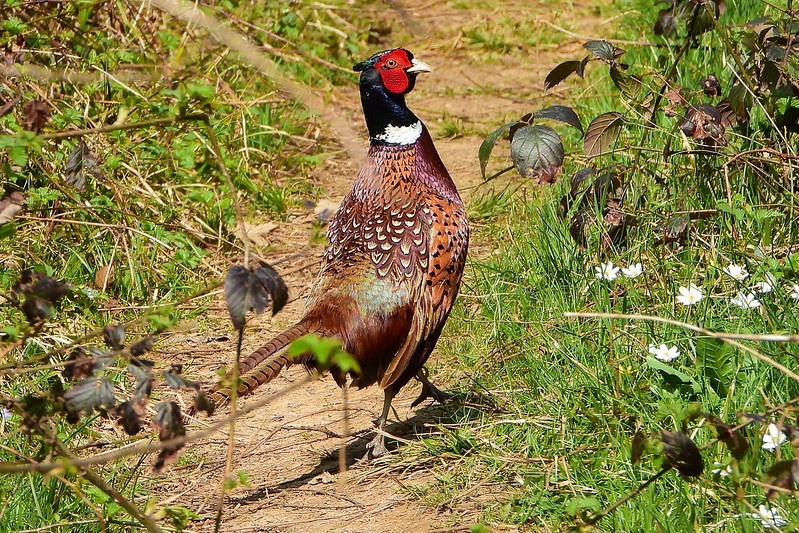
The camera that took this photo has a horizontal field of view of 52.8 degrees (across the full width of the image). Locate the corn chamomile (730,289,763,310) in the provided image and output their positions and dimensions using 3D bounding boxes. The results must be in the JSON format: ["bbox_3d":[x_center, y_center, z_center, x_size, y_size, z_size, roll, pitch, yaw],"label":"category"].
[{"bbox_3d":[1.413,0.137,3.259,0.084,0.022,0.085,3,50,10],"label":"corn chamomile"}]

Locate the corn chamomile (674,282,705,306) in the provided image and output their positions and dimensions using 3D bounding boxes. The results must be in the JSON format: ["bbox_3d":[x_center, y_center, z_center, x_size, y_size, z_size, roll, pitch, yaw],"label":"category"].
[{"bbox_3d":[1.218,0.116,3.360,0.098,0.042,0.100,-10,62,13],"label":"corn chamomile"}]

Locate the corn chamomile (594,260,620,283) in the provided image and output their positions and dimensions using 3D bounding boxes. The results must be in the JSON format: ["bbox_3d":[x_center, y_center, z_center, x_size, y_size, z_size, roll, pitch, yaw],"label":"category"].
[{"bbox_3d":[0.926,0.030,3.599,0.099,0.134,0.147,3,38,13],"label":"corn chamomile"}]

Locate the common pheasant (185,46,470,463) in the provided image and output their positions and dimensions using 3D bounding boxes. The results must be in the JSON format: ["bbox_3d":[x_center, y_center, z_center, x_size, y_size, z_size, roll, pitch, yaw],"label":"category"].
[{"bbox_3d":[-0.315,-0.097,3.708,0.817,2.073,1.075,6,17,31],"label":"common pheasant"}]

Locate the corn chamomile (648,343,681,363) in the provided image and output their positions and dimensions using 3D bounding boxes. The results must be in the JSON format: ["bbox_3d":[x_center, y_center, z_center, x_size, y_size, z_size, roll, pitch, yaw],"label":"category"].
[{"bbox_3d":[1.055,0.335,3.177,0.091,0.039,0.090,-16,29,-27],"label":"corn chamomile"}]
